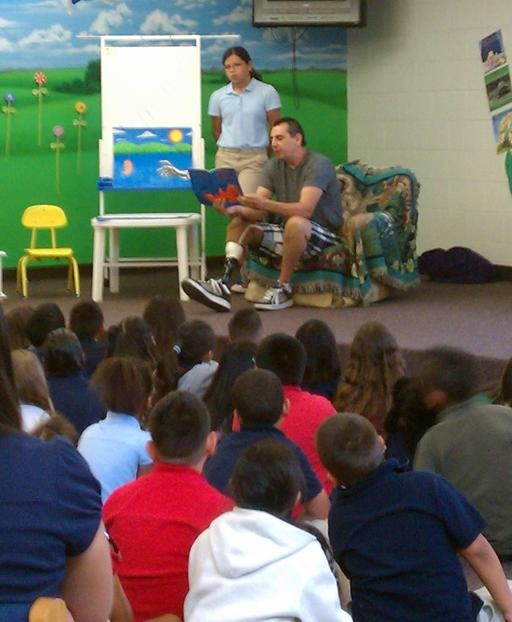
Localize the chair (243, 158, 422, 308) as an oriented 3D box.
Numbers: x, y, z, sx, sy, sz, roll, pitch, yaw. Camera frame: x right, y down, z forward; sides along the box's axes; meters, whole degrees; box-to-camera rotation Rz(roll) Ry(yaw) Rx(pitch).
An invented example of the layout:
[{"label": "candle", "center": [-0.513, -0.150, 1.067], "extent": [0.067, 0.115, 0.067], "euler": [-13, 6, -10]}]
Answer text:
[{"label": "chair", "center": [0.596, -0.609, 4.417], "extent": [1.296, 1.058, 1.156], "euler": [-3, 17, -16]}]

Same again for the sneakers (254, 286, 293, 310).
[{"label": "sneakers", "center": [0.131, -0.077, 3.827], "extent": [0.110, 0.137, 0.304], "euler": [4, 6, 39]}]

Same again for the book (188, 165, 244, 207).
[{"label": "book", "center": [-0.266, -0.792, 3.762], "extent": [0.333, 0.232, 0.241], "euler": [0, 8, -4]}]

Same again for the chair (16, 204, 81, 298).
[{"label": "chair", "center": [-1.867, -0.561, 5.152], "extent": [0.490, 0.785, 1.218], "euler": [-3, 8, -22]}]

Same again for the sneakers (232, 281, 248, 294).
[{"label": "sneakers", "center": [-0.127, -0.180, 4.490], "extent": [0.101, 0.082, 0.187], "euler": [0, -7, -1]}]

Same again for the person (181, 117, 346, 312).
[{"label": "person", "center": [0.082, -0.655, 3.954], "extent": [1.106, 1.353, 0.669], "euler": [1, 2, -29]}]

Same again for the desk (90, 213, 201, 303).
[{"label": "desk", "center": [-0.821, -0.539, 4.811], "extent": [0.818, 0.567, 0.863], "euler": [2, 22, 12]}]
